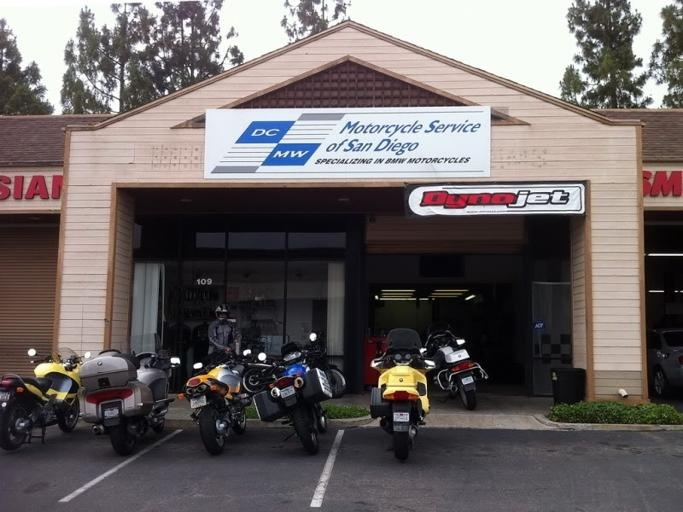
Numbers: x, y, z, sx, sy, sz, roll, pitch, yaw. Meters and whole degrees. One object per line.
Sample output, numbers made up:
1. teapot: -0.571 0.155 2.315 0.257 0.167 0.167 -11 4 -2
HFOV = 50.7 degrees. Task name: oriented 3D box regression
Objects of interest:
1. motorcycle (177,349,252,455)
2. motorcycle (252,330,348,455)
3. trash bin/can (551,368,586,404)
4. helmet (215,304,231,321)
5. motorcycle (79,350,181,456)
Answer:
1. motorcycle: -2.244 2.692 13.136 0.701 1.681 1.550 0 3 7
2. motorcycle: -0.847 2.563 13.189 1.251 1.898 1.849 -1 3 -4
3. trash bin/can: 5.110 2.911 16.331 0.872 1.026 0.741 1 -3 22
4. helmet: -2.717 1.317 16.572 0.277 0.380 0.392 -1 3 -8
5. motorcycle: -3.757 2.614 13.029 1.179 1.846 1.587 0 3 7
